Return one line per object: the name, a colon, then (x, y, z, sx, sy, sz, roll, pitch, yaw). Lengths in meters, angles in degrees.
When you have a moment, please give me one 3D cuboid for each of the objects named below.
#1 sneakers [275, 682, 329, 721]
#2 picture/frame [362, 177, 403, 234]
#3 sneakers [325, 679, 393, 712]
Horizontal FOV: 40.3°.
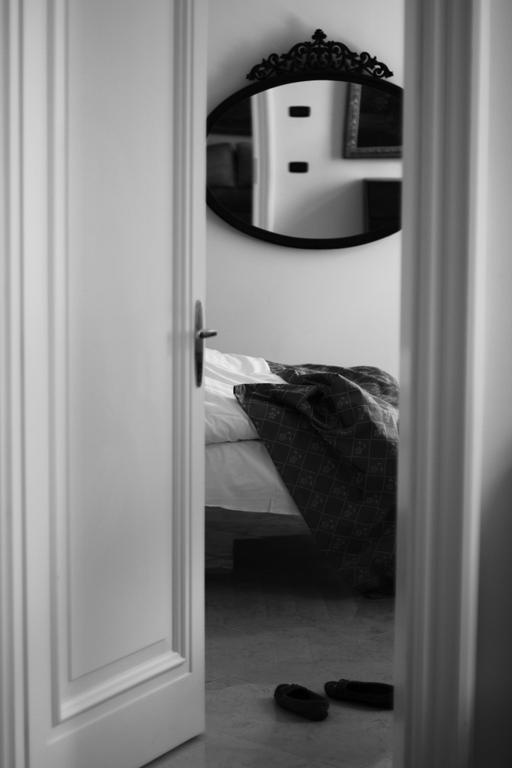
sneakers: (0.108, 0.757, 1.673, 0.134, 0.041, 0.126, 1, 6, 2)
picture/frame: (0.725, -1.054, 3.935, 0.164, 0.268, 0.141, 1, -3, 14)
sneakers: (0.253, 0.752, 1.720, 0.203, 0.057, 0.075, 6, 11, 9)
